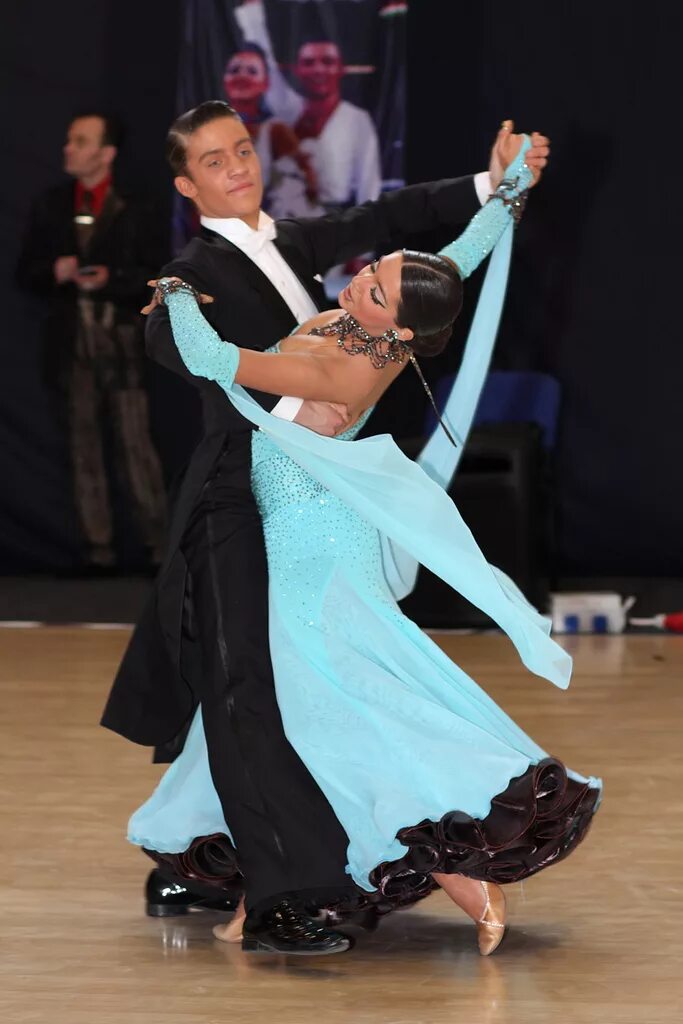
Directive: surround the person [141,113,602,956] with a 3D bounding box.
[{"bbox_3d":[0.010,0.116,1.644,0.738,0.968,0.771,-7,30,-12],"label":"person"}]
